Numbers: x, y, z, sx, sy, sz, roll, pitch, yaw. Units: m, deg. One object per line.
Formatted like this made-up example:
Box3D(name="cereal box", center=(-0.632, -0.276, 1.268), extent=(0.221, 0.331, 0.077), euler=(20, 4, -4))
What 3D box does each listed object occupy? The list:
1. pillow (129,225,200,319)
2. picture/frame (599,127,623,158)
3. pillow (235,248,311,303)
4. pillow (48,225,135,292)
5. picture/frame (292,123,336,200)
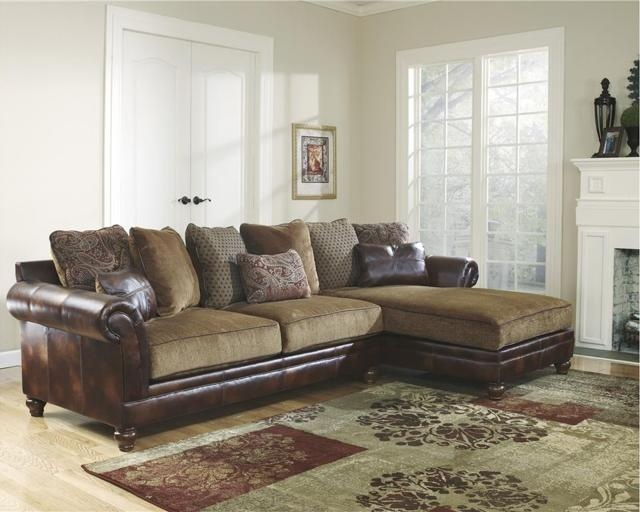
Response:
Box3D(name="pillow", center=(-0.993, 0.125, 3.601), extent=(0.385, 0.467, 0.688), euler=(1, 2, 19))
Box3D(name="picture/frame", center=(2.569, -0.998, 5.027), extent=(0.166, 0.271, 0.113), euler=(4, 7, 38))
Box3D(name="pillow", center=(-0.402, 0.185, 4.132), extent=(0.606, 0.337, 0.166), euler=(-6, -21, -41))
Box3D(name="pillow", center=(-1.395, -0.005, 3.428), extent=(0.470, 0.397, 0.138), euler=(-4, -29, -48))
Box3D(name="picture/frame", center=(-0.063, -1.060, 6.504), extent=(0.662, 0.851, 0.043), euler=(-5, 8, -42))
